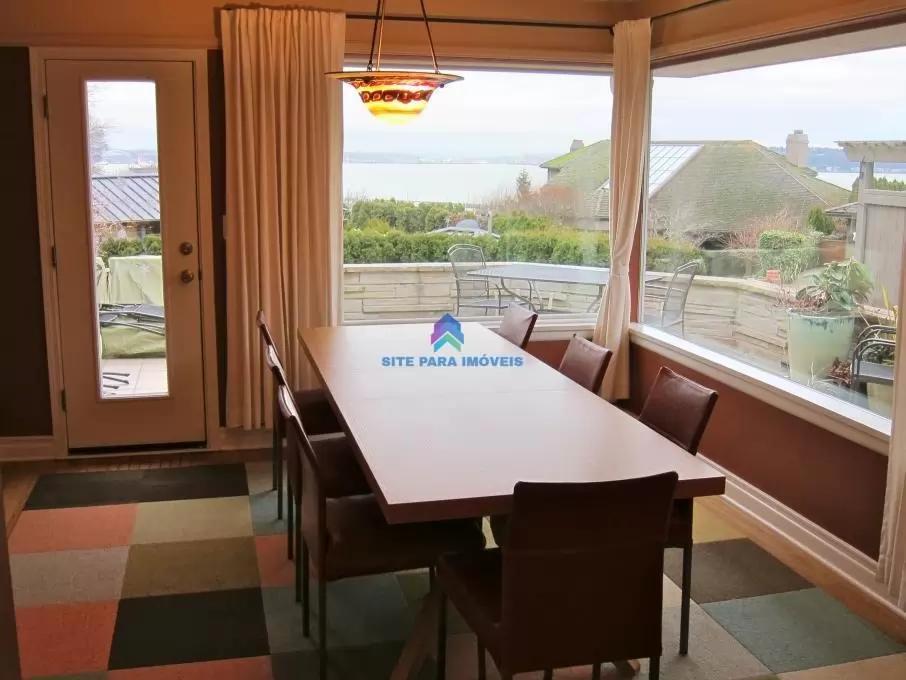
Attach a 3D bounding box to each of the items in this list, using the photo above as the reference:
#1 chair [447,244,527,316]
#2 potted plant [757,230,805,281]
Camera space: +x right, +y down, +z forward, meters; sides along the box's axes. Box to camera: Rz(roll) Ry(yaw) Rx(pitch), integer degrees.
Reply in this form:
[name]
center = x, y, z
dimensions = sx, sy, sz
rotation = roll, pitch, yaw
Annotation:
[chair]
center = 0.165, -0.480, 5.391
dimensions = 0.513, 0.729, 0.511
rotation = -8, 10, -43
[potted plant]
center = 1.874, -0.480, 3.961
dimensions = 0.160, 0.298, 0.299
rotation = -2, 5, -8
